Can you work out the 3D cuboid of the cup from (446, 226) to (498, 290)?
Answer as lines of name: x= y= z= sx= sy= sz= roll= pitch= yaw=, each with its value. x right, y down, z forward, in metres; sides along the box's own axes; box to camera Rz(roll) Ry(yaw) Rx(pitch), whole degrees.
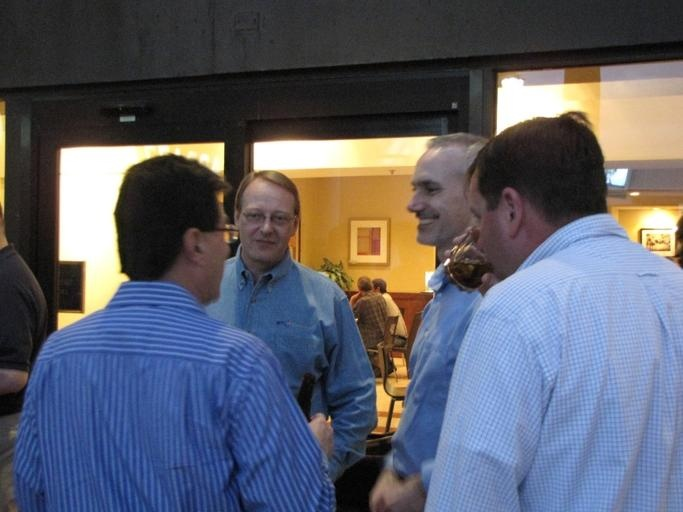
cup: x=0.422 y=0.013 z=2.503 sx=0.083 sy=0.216 sz=0.114 roll=34 pitch=-42 yaw=-29

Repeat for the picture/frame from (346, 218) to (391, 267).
picture/frame: x=0.141 y=-0.084 z=4.346 sx=0.237 sy=0.288 sz=0.019 roll=-1 pitch=9 yaw=-15
